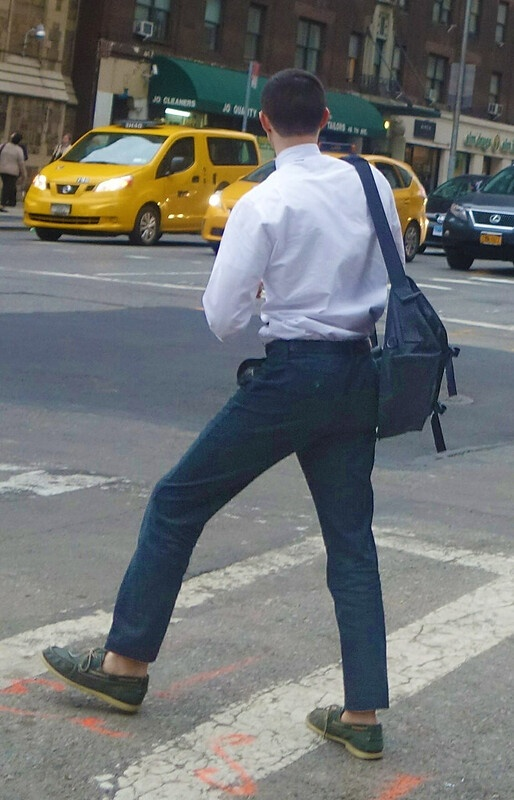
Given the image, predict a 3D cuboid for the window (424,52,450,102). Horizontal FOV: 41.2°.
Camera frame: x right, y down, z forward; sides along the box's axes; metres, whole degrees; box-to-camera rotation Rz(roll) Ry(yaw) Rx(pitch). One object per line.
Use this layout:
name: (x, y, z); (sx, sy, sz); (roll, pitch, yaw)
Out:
window: (11.595, -20.659, 44.138); (1.947, 3.009, 0.368); (2, 2, -42)

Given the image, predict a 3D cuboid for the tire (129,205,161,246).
tire: (-2.940, -4.566, 17.733); (0.373, 1.036, 1.062); (7, 0, 30)

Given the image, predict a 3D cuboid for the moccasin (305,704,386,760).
moccasin: (0.214, 0.758, 1.618); (0.176, 0.074, 0.074); (20, -1, 42)

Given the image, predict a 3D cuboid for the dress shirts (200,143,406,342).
dress shirts: (0.105, -0.349, 1.481); (0.421, 0.371, 0.241); (3, 1, -5)
